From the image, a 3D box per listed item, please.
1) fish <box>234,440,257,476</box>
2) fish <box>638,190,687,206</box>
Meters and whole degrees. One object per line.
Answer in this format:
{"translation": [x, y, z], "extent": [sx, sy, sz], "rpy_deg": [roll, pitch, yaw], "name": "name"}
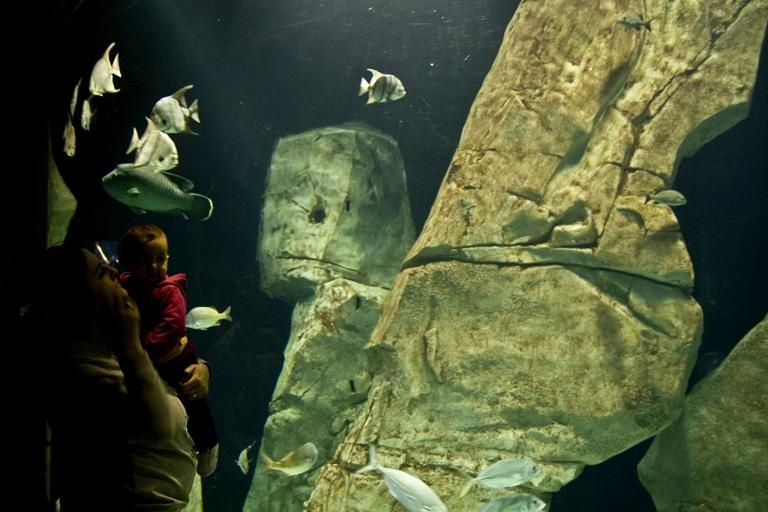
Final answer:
{"translation": [-1.767, 2.545, 12.260], "extent": [0.198, 0.166, 0.507], "rpy_deg": [-27, 41, 26], "name": "fish"}
{"translation": [3.091, -0.652, 10.730], "extent": [0.496, 0.211, 0.071], "rpy_deg": [3, 15, -11], "name": "fish"}
